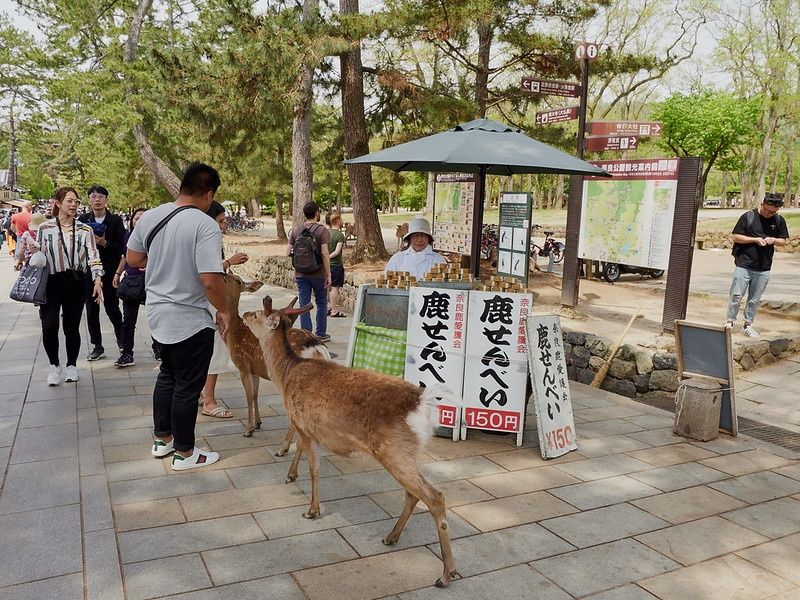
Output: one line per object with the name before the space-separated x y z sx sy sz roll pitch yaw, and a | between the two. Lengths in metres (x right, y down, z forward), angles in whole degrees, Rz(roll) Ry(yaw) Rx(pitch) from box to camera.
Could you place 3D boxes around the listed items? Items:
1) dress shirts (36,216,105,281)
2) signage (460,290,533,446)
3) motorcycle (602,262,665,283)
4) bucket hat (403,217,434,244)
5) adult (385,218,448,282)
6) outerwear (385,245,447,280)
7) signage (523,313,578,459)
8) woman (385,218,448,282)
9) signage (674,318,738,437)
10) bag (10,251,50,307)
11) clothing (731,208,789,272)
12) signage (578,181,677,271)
dress shirts | -3.975 -0.562 7.059 0.589 0.991 0.981 -2 0 44
signage | 0.973 0.700 5.735 0.641 1.533 0.320 3 13 6
motorcycle | 6.148 -0.717 14.903 1.099 0.645 0.501 4 4 -18
bucket hat | 0.227 -0.811 6.540 0.246 0.168 0.304 1 -7 7
adult | 0.249 -0.599 6.570 0.880 0.693 0.469 6 10 14
outerwear | 0.179 -0.435 6.524 0.700 0.568 0.370 -1 1 1
signage | 1.553 0.843 5.671 0.636 1.338 0.532 -7 16 -34
woman | 0.241 -0.599 6.580 0.851 0.694 0.442 6 8 13
signage | 3.473 0.858 6.374 0.801 1.157 0.334 11 16 34
bag | -4.273 -0.222 6.466 0.355 0.629 0.410 0 13 -9
clothing | 5.655 -0.938 8.882 0.759 0.958 0.436 6 14 18
signage | 3.856 -1.302 9.459 0.021 1.204 1.622 2 8 -17
